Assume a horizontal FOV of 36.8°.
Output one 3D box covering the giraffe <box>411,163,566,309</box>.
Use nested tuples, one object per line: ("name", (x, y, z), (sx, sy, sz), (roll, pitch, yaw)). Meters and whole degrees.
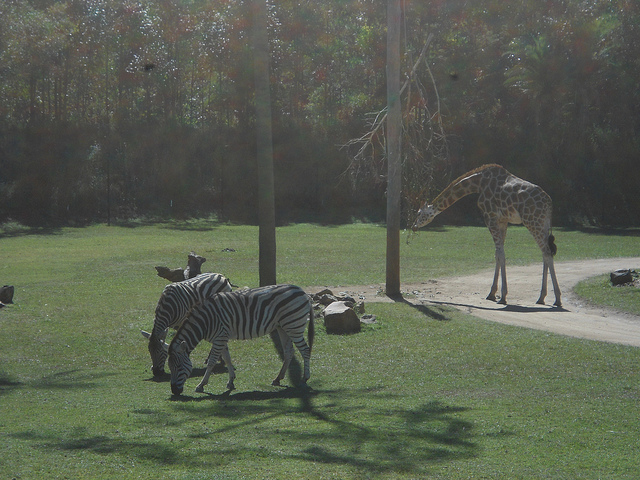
("giraffe", (6.704, -0.218, 35.186), (1.597, 5.264, 4.829), (0, 0, -45))

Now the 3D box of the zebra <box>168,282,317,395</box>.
("zebra", (-2.394, 2.963, 28.862), (4.476, 3.435, 1.361), (-6, 13, -13))

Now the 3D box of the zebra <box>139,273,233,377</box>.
("zebra", (-4.226, 2.749, 30.262), (1.266, 3.027, 4.562), (-6, 10, 23))
